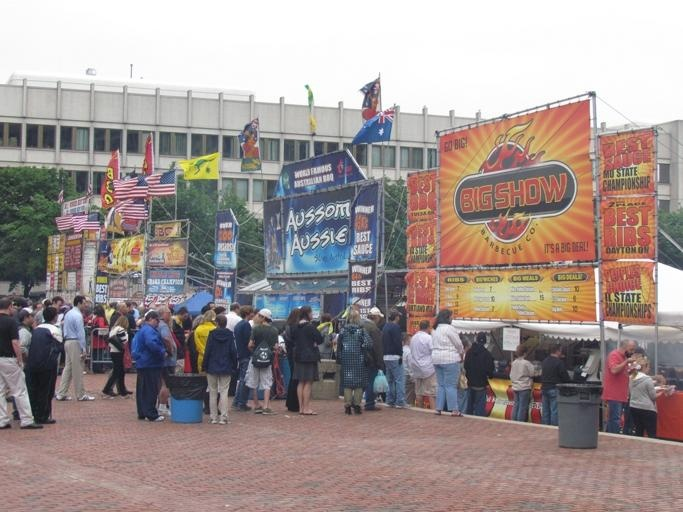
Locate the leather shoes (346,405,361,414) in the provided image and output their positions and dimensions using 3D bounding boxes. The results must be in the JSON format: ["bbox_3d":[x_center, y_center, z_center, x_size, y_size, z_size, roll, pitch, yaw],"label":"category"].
[{"bbox_3d":[0.278,3.526,23.862,0.144,0.208,0.448,0,0,37],"label":"leather shoes"}]

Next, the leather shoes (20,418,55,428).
[{"bbox_3d":[-6.273,3.383,21.233,0.555,0.250,0.198,-2,-3,-4],"label":"leather shoes"}]

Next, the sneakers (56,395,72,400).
[{"bbox_3d":[-6.865,3.490,25.660,0.349,0.163,0.130,0,11,-16],"label":"sneakers"}]

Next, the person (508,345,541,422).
[{"bbox_3d":[4.256,2.963,24.384,0.589,1.764,0.717,0,-5,10],"label":"person"}]

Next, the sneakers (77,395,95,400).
[{"bbox_3d":[-6.268,3.458,25.531,0.344,0.153,0.133,1,0,-15],"label":"sneakers"}]

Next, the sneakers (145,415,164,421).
[{"bbox_3d":[-4.069,3.534,22.595,0.396,0.187,0.151,5,-7,-12],"label":"sneakers"}]

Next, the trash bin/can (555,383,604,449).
[{"bbox_3d":[4.521,3.198,20.320,1.011,1.356,1.042,3,-18,-2],"label":"trash bin/can"}]

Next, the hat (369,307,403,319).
[{"bbox_3d":[1.034,1.365,24.893,0.711,0.341,0.458,4,-7,-5],"label":"hat"}]

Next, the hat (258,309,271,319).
[{"bbox_3d":[-1.704,1.351,23.768,0.233,0.120,0.240,19,1,37],"label":"hat"}]

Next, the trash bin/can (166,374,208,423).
[{"bbox_3d":[-3.287,3.180,22.974,1.007,1.198,1.109,-2,-2,20],"label":"trash bin/can"}]

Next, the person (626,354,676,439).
[{"bbox_3d":[6.665,3.245,22.381,0.851,2.107,0.733,2,5,21],"label":"person"}]

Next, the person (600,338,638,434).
[{"bbox_3d":[5.860,2.751,21.949,0.632,1.948,0.984,0,-5,16],"label":"person"}]
